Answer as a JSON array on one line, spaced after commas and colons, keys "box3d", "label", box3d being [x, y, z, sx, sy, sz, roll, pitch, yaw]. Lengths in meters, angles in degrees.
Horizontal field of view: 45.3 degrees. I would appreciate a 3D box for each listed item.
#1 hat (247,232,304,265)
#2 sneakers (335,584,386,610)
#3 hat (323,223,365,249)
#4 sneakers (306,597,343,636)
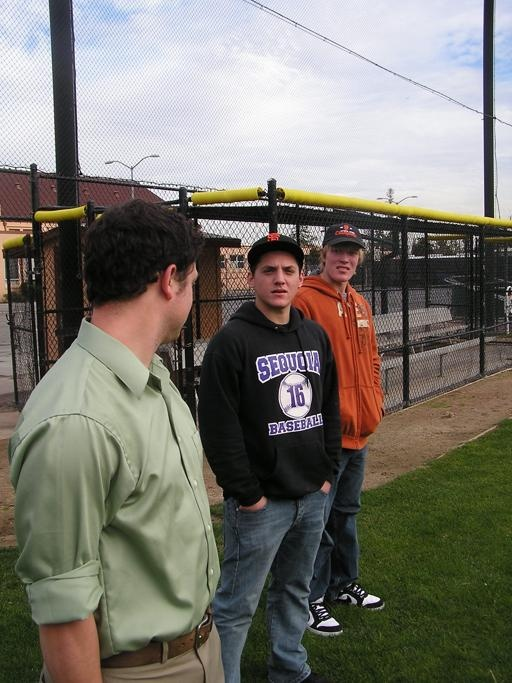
[{"box3d": [0.078, -0.372, 2.485, 0.160, 0.104, 0.203, -1, -18, -1], "label": "hat"}, {"box3d": [0.515, 1.289, 3.117, 0.265, 0.103, 0.091, -3, 5, 26], "label": "sneakers"}, {"box3d": [0.462, -0.570, 3.287, 0.136, 0.096, 0.182, 2, 3, -4], "label": "hat"}, {"box3d": [0.320, 1.294, 2.839, 0.080, 0.081, 0.207, 2, -13, -16], "label": "sneakers"}]
